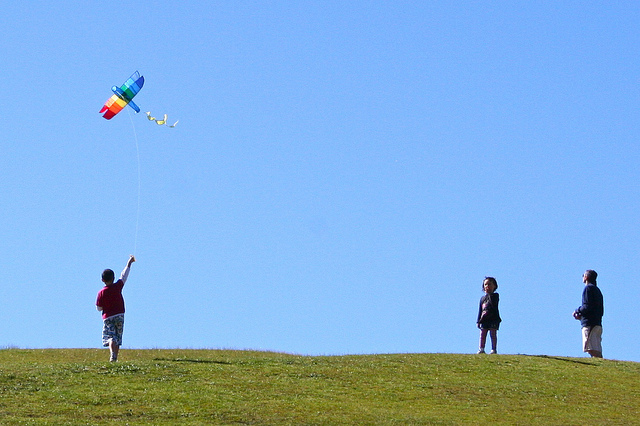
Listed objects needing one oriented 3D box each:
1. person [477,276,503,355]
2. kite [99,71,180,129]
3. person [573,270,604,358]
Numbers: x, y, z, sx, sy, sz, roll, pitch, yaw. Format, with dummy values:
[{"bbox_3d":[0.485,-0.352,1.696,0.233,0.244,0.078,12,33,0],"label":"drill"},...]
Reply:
[{"bbox_3d":[7.788,4.799,46.658,0.964,3.596,0.846,4,12,9],"label":"person"},{"bbox_3d":[-9.512,-5.630,49.871,0.858,2.880,2.873,43,-6,6],"label":"kite"},{"bbox_3d":[12.323,4.666,45.992,1.165,4.097,1.131,6,13,17],"label":"person"}]
